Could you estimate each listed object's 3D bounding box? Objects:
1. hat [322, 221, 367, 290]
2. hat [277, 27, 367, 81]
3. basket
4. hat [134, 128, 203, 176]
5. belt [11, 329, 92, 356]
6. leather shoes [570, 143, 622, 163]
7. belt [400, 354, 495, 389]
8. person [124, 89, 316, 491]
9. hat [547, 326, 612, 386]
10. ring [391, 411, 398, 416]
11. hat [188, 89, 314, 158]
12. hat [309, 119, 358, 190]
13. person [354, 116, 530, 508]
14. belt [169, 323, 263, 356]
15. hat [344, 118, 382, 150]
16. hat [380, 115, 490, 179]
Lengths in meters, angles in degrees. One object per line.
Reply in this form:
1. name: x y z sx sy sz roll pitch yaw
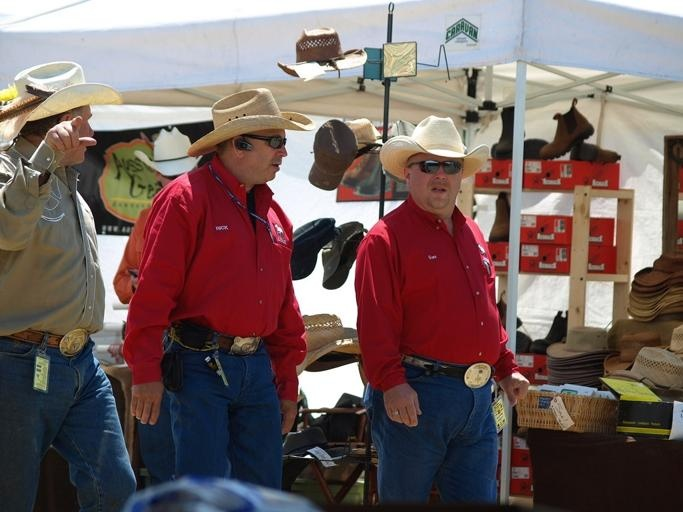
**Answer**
1. hat: -0.007 -0.025 8.906 0.284 0.501 0.332 12 25 -36
2. hat: -0.129 -1.472 8.098 0.628 0.383 0.337 0 4 7
3. basket: 1.503 1.059 7.704 0.484 0.174 0.330 -1 -5 23
4. hat: -1.514 -0.864 9.667 0.582 0.267 0.684 -2 17 -9
5. belt: -1.688 0.488 6.536 0.269 0.093 0.184 8 4 5
6. leather shoes: 2.097 -0.843 9.357 0.361 0.127 0.191 3 5 -10
7. belt: 0.657 0.697 6.850 0.348 0.108 0.257 13 0 12
8. person: -0.737 0.194 6.689 1.171 2.395 0.552 -2 4 -19
9. hat: 1.858 0.801 8.966 0.485 0.435 0.507 1 4 13
10. ring: 0.300 0.928 6.645 0.024 0.029 0.010 -2 3 8
11. hat: -0.564 -0.842 6.851 0.604 0.214 0.474 -14 0 -19
12. hat: -0.092 -0.717 8.136 0.336 0.485 0.144 25 39 1
13. person: 0.497 0.288 6.959 0.918 2.325 0.606 -3 5 -32
14. belt: -0.768 0.493 6.626 0.325 0.090 0.245 13 1 -13
15. hat: 0.157 -0.905 8.296 0.278 0.097 0.207 -12 15 -30
16. hat: 0.612 -0.756 7.792 0.685 0.280 0.677 3 -20 -8
